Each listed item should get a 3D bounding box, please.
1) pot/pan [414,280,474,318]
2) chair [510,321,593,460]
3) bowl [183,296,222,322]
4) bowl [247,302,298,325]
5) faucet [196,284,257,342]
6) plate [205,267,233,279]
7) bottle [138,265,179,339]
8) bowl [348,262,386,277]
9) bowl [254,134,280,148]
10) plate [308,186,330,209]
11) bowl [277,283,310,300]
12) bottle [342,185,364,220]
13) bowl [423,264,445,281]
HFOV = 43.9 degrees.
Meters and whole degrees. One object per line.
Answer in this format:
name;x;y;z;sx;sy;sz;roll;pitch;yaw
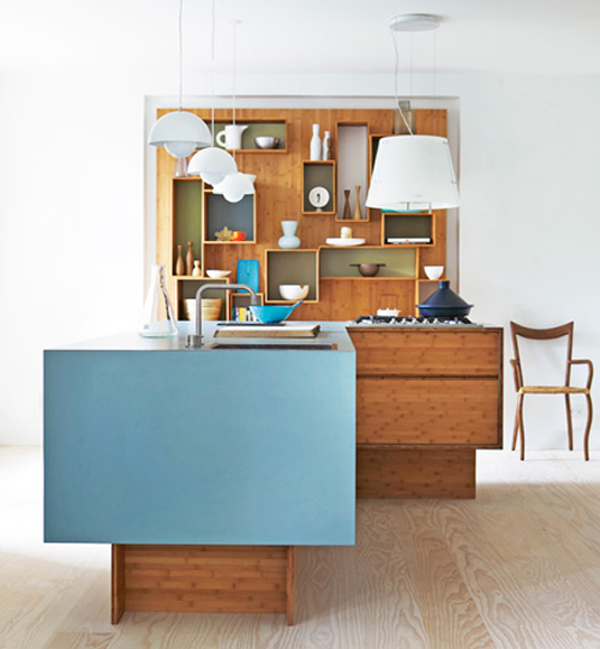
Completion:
pot/pan;0.783;-0.120;4.066;0.222;0.155;0.227;0;0;16
chair;1.736;0.452;5.091;0.603;0.911;0.589;1;5;11
bowl;-0.676;-0.101;5.279;0.203;0.133;0.206;0;-3;0
bowl;-0.108;-0.047;3.575;0.181;0.084;0.143;0;0;-18
faucet;-0.289;-0.031;2.830;0.231;0.263;0.080;3;19;0
plate;-0.581;-0.357;5.332;0.183;0.076;0.190;0;5;-4
bottle;-0.538;-0.083;2.911;0.134;0.280;0.146;0;5;0
bowl;0.474;-0.382;5.292;0.254;0.102;0.248;0;5;0
bowl;-0.229;-1.275;5.227;0.147;0.109;0.140;0;5;0
plate;0.130;-0.907;5.327;0.150;0.155;0.041;-4;2;9
bowl;-0.015;-0.216;5.275;0.253;0.112;0.191;-2;5;-23
bottle;0.376;-0.865;5.311;0.145;0.254;0.184;0;5;3
bowl;0.928;-0.351;5.161;0.111;0.077;0.113;-1;-3;0
